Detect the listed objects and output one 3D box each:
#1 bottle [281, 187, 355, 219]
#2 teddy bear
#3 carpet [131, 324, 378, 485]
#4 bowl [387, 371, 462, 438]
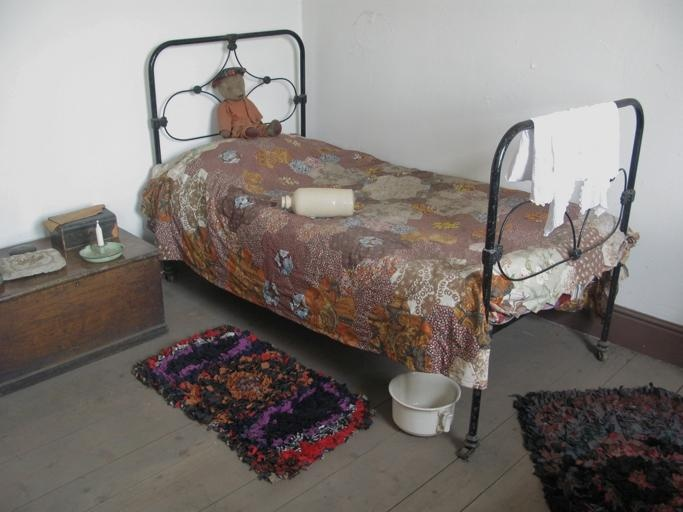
[{"bbox_3d":[-0.103,-0.256,2.628,0.327,0.141,0.148,0,20,-1],"label":"bottle"},{"bbox_3d":[-0.618,-0.958,3.426,0.436,0.424,0.343,18,34,30],"label":"teddy bear"},{"bbox_3d":[-0.413,0.627,2.524,1.057,0.173,0.580,16,29,38],"label":"carpet"},{"bbox_3d":[0.367,0.682,2.336,0.229,0.125,0.258,1,3,7],"label":"bowl"}]
